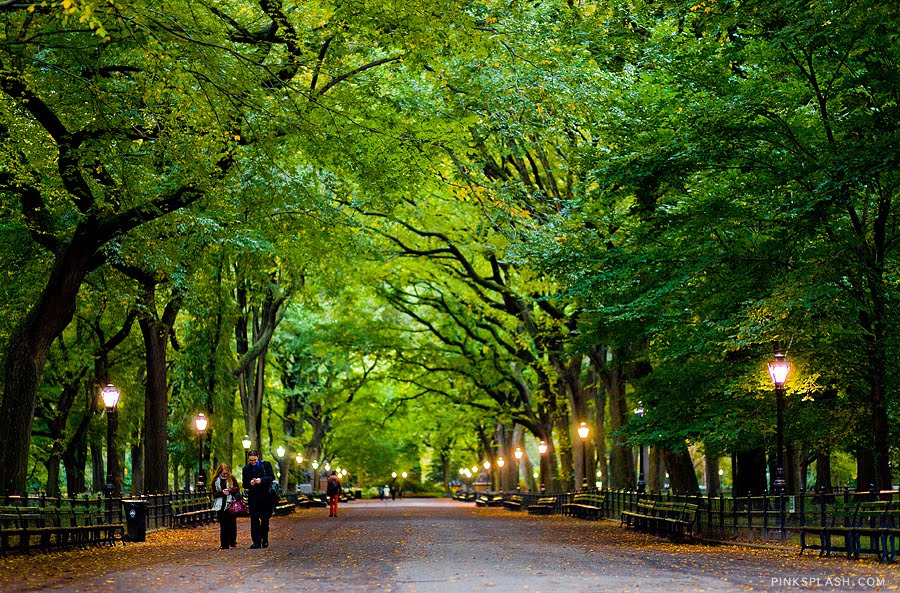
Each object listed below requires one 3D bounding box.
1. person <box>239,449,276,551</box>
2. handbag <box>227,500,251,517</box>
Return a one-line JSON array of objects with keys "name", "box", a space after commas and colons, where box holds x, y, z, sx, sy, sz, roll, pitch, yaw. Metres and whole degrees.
[{"name": "person", "box": [-5.030, 5.223, 27.483, 0.807, 2.619, 1.589, 2, -18, -10]}, {"name": "handbag", "box": [-5.553, 5.619, 27.550, 0.665, 0.426, 0.378, 0, -12, 0]}]
